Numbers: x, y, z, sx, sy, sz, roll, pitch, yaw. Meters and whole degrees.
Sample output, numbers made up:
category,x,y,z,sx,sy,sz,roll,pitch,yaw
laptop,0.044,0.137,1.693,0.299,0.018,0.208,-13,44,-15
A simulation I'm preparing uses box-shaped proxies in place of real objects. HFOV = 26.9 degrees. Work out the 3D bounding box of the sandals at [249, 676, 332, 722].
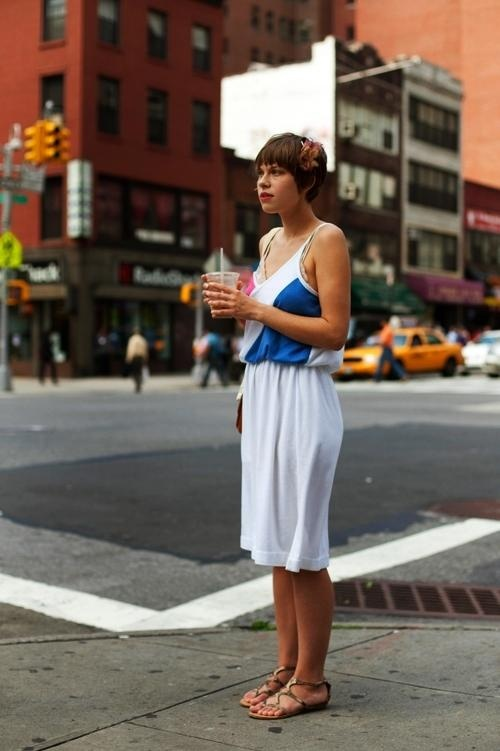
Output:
category,x,y,z,sx,sy,sz,roll,pitch,yaw
sandals,0.122,0.953,3.074,0.201,0.096,0.102,0,-8,-13

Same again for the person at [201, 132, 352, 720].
category,x,y,z,sx,sy,sz,roll,pitch,yaw
person,0.083,0.133,3.183,0.467,1.731,0.436,1,4,-14

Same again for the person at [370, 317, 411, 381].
category,x,y,z,sx,sy,sz,roll,pitch,yaw
person,1.428,-0.227,10.721,0.441,0.430,1.063,-3,-7,23

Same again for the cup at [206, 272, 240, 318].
category,x,y,z,sx,sy,sz,roll,pitch,yaw
cup,-0.084,-0.241,3.129,0.117,0.129,0.124,-1,-20,-1

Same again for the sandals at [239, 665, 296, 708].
category,x,y,z,sx,sy,sz,roll,pitch,yaw
sandals,0.051,0.957,3.177,0.070,0.087,0.212,-19,-22,31
